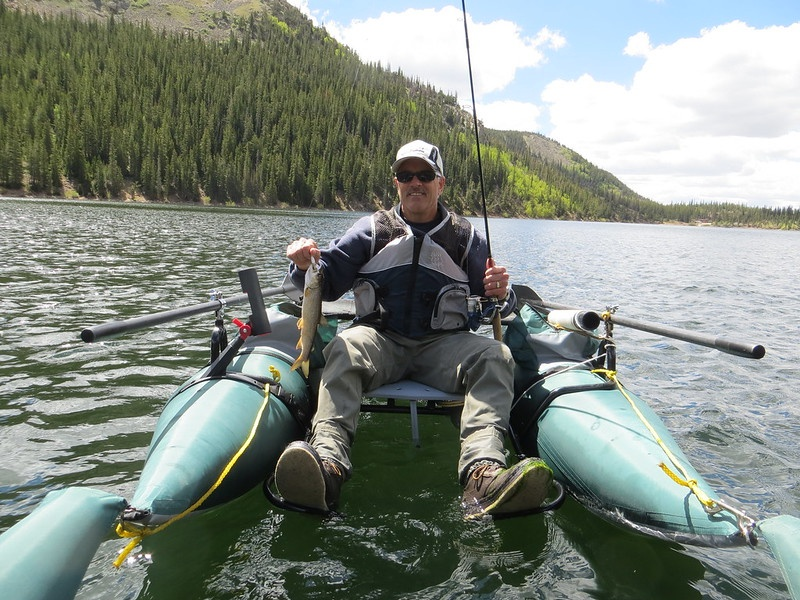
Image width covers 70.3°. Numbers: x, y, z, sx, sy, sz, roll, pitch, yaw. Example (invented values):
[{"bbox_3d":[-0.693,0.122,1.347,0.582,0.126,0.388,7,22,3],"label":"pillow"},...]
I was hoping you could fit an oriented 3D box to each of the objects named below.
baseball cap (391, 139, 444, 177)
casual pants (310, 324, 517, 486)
[{"bbox_3d":[0.159,-1.200,4.807,0.444,0.298,0.407,0,14,-2],"label":"baseball cap"},{"bbox_3d":[0.065,0.674,4.333,1.549,0.631,2.018,2,19,-17],"label":"casual pants"}]
